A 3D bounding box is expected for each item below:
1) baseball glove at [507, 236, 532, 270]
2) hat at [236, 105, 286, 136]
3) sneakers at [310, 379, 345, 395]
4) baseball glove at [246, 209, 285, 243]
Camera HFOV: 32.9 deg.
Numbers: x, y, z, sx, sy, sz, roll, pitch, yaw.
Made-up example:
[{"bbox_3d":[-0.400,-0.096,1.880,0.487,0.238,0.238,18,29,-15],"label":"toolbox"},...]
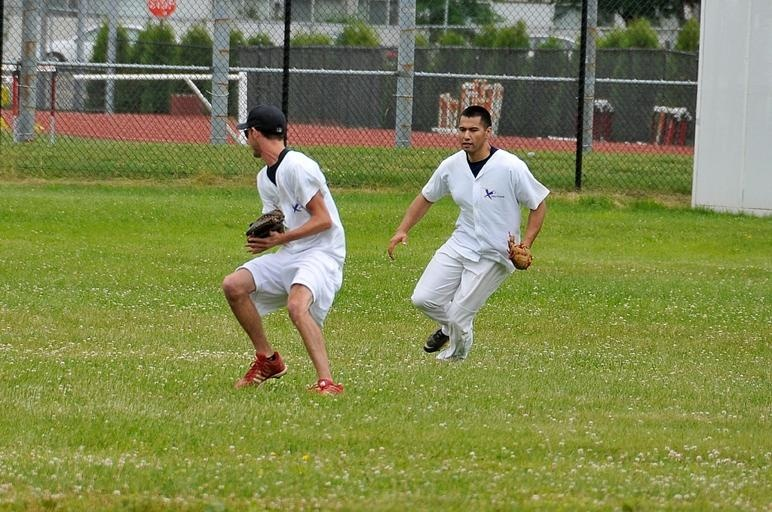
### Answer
[{"bbox_3d":[1.584,-0.043,15.366,0.282,0.362,0.185,-45,-17,23],"label":"baseball glove"},{"bbox_3d":[-1.425,-1.476,14.379,0.477,0.273,0.349,5,-12,-8],"label":"hat"},{"bbox_3d":[-0.639,1.395,14.157,0.355,0.149,0.259,2,7,-4],"label":"sneakers"},{"bbox_3d":[-1.329,-0.337,14.286,0.373,0.171,0.268,-30,-18,-12],"label":"baseball glove"}]
